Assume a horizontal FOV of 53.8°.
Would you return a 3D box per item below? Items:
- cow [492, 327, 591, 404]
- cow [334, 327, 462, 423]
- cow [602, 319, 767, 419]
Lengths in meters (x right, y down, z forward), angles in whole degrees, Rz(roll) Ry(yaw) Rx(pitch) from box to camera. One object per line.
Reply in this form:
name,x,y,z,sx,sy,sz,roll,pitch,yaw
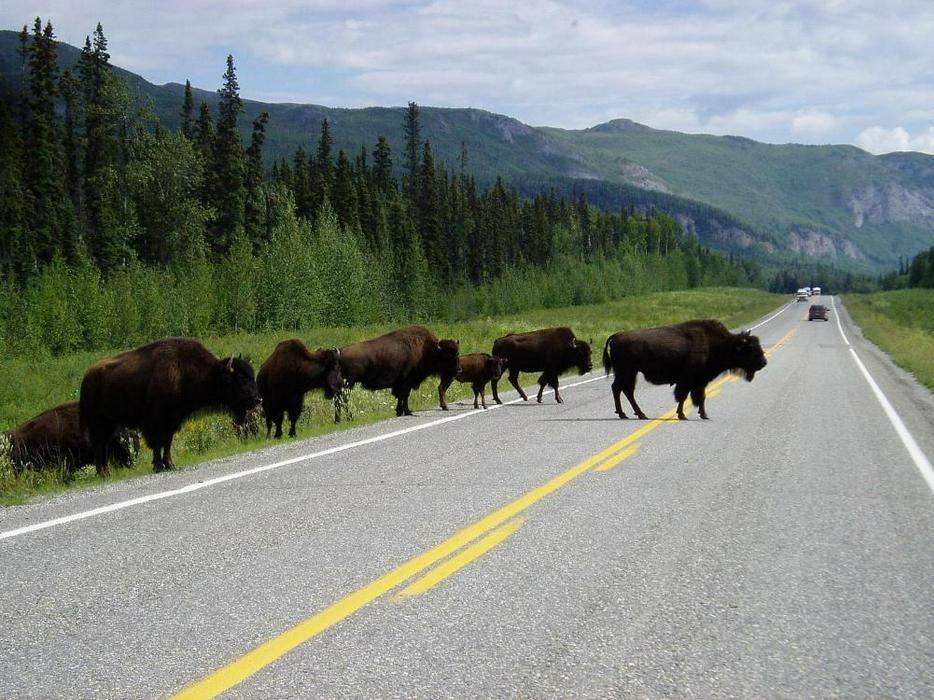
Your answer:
cow,1.733,0.271,21.037,2.171,1.519,0.831,1,7,2
cow,-1.297,0.417,17.988,0.690,1.533,2.721,7,10,43
cow,4.009,0.360,17.184,2.718,1.764,1.321,0,7,-5
